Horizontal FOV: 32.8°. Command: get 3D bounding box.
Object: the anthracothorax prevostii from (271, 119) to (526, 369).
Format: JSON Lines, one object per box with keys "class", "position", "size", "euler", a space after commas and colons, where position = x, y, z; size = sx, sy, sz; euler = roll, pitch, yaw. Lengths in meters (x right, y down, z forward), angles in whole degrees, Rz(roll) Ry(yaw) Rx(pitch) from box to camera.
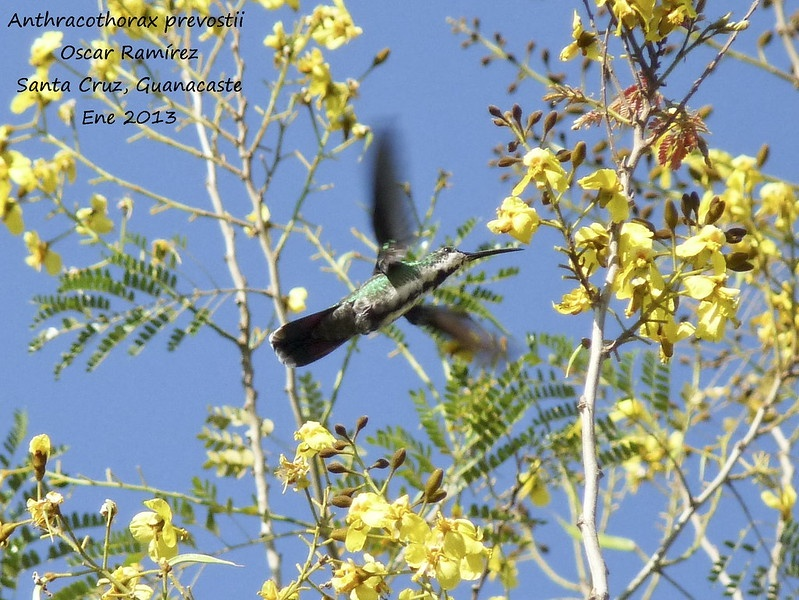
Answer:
{"class": "anthracothorax prevostii", "position": [-0.050, -0.044, 5.304], "size": [0.930, 0.335, 1.168], "euler": [-16, -46, 2]}
